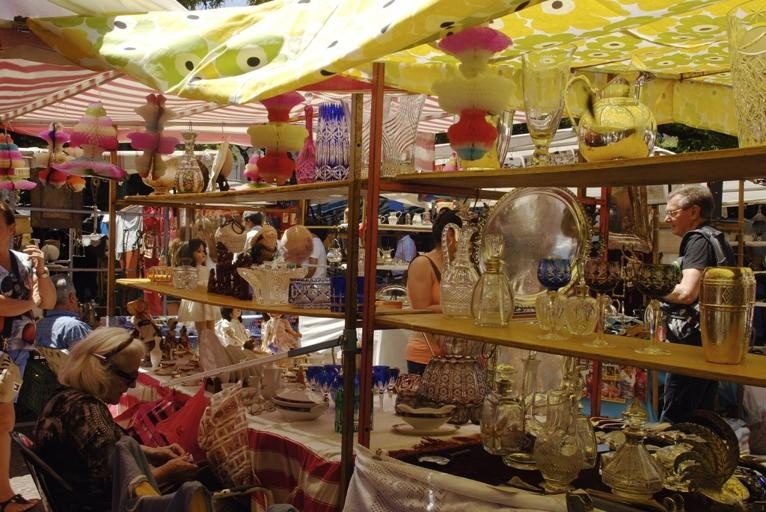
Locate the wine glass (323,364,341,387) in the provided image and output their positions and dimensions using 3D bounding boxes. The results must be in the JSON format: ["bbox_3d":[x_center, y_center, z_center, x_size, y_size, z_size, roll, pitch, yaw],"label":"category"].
[{"bbox_3d":[-0.289,0.680,3.186,0.105,0.107,0.099,0,-1,-9],"label":"wine glass"}]

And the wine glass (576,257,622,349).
[{"bbox_3d":[0.864,0.177,2.247,0.139,0.323,0.473,2,4,22],"label":"wine glass"}]

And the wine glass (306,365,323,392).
[{"bbox_3d":[-0.385,0.697,3.200,0.123,0.128,0.125,-1,-5,38],"label":"wine glass"}]

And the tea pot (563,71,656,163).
[{"bbox_3d":[0.857,-0.507,2.224,0.406,0.369,0.296,0,0,28],"label":"tea pot"}]

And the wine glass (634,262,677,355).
[{"bbox_3d":[1.032,0.191,2.132,0.149,0.325,0.426,3,4,28],"label":"wine glass"}]

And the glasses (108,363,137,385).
[{"bbox_3d":[-1.300,0.593,2.830,0.114,0.033,0.111,28,3,16],"label":"glasses"}]
